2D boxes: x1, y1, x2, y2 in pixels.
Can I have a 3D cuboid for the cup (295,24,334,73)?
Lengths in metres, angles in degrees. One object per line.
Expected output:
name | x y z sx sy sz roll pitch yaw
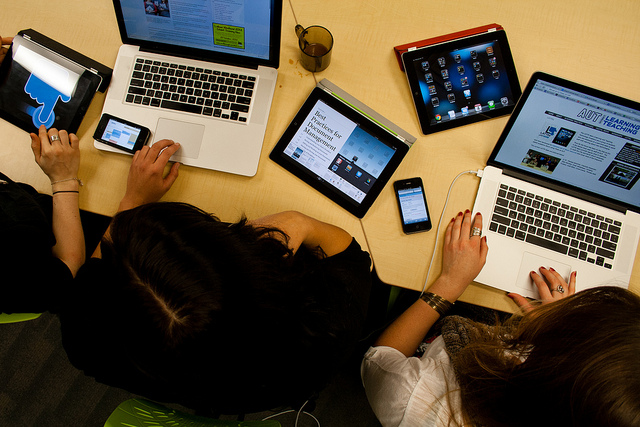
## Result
cup | -0.029 -0.633 1.764 0.161 0.166 0.118 22 7 -3

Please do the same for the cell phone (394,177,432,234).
cell phone | 0.346 -0.023 1.748 0.154 0.269 0.027 -12 -7 -1

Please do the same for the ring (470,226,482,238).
ring | 0.579 0.070 1.712 0.028 0.040 0.014 5 -17 1

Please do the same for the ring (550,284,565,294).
ring | 0.871 0.276 1.683 0.027 0.014 0.032 14 -28 -3
